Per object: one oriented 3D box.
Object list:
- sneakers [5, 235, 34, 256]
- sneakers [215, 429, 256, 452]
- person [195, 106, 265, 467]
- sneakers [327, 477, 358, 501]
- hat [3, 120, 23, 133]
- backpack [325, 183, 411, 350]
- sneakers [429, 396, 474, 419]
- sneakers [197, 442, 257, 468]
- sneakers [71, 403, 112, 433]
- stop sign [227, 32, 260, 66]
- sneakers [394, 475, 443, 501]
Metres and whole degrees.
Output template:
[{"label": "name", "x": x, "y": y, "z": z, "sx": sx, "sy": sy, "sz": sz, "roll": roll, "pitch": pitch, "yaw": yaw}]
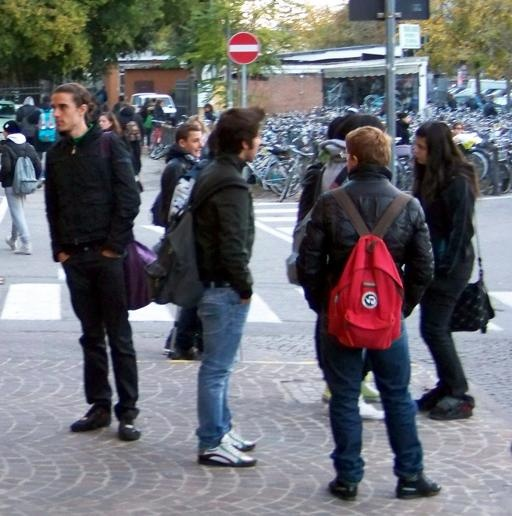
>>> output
[{"label": "sneakers", "x": -3.309, "y": -0.173, "z": 11.737, "sx": 0.193, "sy": 0.201, "sz": 0.532, "roll": -3, "pitch": 16, "yaw": -27}, {"label": "sneakers", "x": -0.093, "y": 1.034, "z": 4.758, "sx": 0.253, "sy": 0.095, "sz": 0.083, "roll": 15, "pitch": 10, "yaw": -18}, {"label": "person", "x": -0.157, "y": 0.172, "z": 4.533, "sx": 0.396, "sy": 1.934, "sz": 0.352, "roll": 10, "pitch": 12, "yaw": 37}, {"label": "sneakers", "x": 0.419, "y": 1.145, "z": 4.244, "sx": 0.075, "sy": 0.104, "sz": 0.169, "roll": -5, "pitch": 15, "yaw": -31}, {"label": "hat", "x": -3.382, "y": -1.829, "z": 11.725, "sx": 0.186, "sy": 0.155, "sz": 0.213, "roll": 1, "pitch": 17, "yaw": -19}, {"label": "backpack", "x": 0.530, "y": 0.048, "z": 4.058, "sx": 0.387, "sy": 0.738, "sz": 0.283, "roll": 4, "pitch": 10, "yaw": 7}, {"label": "sneakers", "x": 1.264, "y": 0.976, "z": 5.507, "sx": 0.325, "sy": 0.117, "sz": 0.117, "roll": 0, "pitch": 3, "yaw": -21}, {"label": "sneakers", "x": -0.172, "y": 1.083, "z": 4.658, "sx": 0.359, "sy": 0.125, "sz": 0.114, "roll": 1, "pitch": 0, "yaw": -3}, {"label": "sneakers", "x": -0.991, "y": 0.984, "z": 5.117, "sx": 0.298, "sy": 0.169, "sz": 0.105, "roll": 4, "pitch": 6, "yaw": -20}, {"label": "stop sign", "x": -0.249, "y": -3.779, "z": 15.247, "sx": 0.558, "sy": 0.586, "sz": 0.449, "roll": 2, "pitch": 9, "yaw": -2}, {"label": "sneakers", "x": 0.807, "y": 1.149, "z": 4.211, "sx": 0.233, "sy": 0.119, "sz": 0.091, "roll": -4, "pitch": 10, "yaw": -14}]
